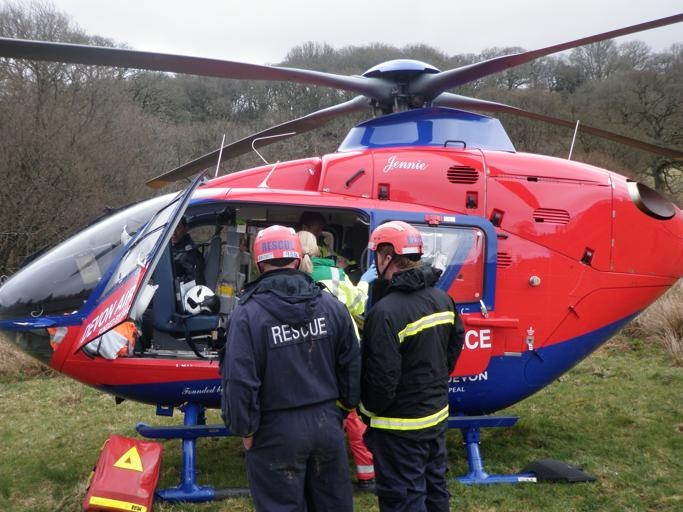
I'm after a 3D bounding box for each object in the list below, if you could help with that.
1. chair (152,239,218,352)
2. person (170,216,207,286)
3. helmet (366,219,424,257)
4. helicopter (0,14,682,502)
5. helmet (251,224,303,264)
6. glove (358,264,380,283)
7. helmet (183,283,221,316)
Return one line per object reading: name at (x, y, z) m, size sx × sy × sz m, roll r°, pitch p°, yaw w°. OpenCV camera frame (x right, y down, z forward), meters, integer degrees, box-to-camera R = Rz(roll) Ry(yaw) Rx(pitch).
chair at (-1.778, 0.474, 7.144) m, size 0.804 × 1.126 × 0.546 m, roll -1°, pitch 12°, yaw -2°
person at (-1.760, -0.024, 7.483) m, size 0.321 × 0.719 × 0.475 m, roll -7°, pitch -32°, yaw -20°
helmet at (0.503, -0.160, 6.000) m, size 0.515 × 0.276 × 0.375 m, roll 6°, pitch 7°, yaw 34°
helicopter at (0.100, -0.201, 7.711) m, size 6.476 × 2.742 × 5.378 m, roll 1°, pitch -5°, yaw -1°
helmet at (-0.599, -0.041, 5.738) m, size 0.492 × 0.444 × 0.593 m, roll -3°, pitch 2°, yaw -7°
glove at (0.265, 0.178, 6.595) m, size 0.080 × 0.225 × 0.130 m, roll 46°, pitch 10°, yaw -50°
helmet at (-1.526, 0.473, 7.181) m, size 0.356 × 0.265 × 0.265 m, roll -24°, pitch 31°, yaw -36°
